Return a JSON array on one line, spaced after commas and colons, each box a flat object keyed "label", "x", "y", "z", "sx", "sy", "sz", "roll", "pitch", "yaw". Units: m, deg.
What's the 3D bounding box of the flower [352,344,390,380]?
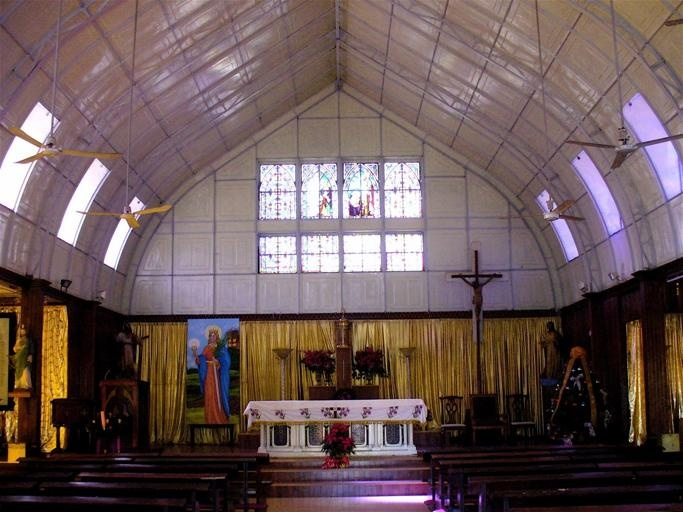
[{"label": "flower", "x": 1.113, "y": 3.588, "z": 26.649, "sx": 1.161, "sy": 1.626, "sz": 1.103, "roll": 1, "pitch": -10, "yaw": -11}]

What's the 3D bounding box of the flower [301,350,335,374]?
[{"label": "flower", "x": -0.737, "y": 3.567, "z": 26.164, "sx": 0.800, "sy": 0.790, "sz": 0.864, "roll": 0, "pitch": -5, "yaw": 19}]

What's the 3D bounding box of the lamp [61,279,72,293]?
[{"label": "lamp", "x": -8.478, "y": 0.882, "z": 23.580, "sx": 0.313, "sy": 0.396, "sz": 0.309, "roll": 1, "pitch": -20, "yaw": -9}]

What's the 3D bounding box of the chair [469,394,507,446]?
[{"label": "chair", "x": 4.775, "y": 5.325, "z": 25.126, "sx": 1.219, "sy": 2.180, "sz": 1.408, "roll": 0, "pitch": -16, "yaw": 1}]

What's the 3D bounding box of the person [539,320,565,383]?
[{"label": "person", "x": 7.443, "y": 3.260, "z": 26.687, "sx": 0.823, "sy": 2.276, "sz": 1.393, "roll": -6, "pitch": -15, "yaw": 17}]

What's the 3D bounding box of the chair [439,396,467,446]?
[{"label": "chair", "x": 3.832, "y": 5.589, "z": 26.012, "sx": 0.872, "sy": 1.898, "sz": 0.983, "roll": -1, "pitch": -24, "yaw": 3}]

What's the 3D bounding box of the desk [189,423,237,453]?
[{"label": "desk", "x": -4.458, "y": 6.121, "z": 26.541, "sx": 1.642, "sy": 0.810, "sz": 1.054, "roll": 1, "pitch": -16, "yaw": -12}]

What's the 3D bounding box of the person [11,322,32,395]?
[{"label": "person", "x": -8.900, "y": 2.796, "z": 21.451, "sx": 0.493, "sy": 1.824, "sz": 0.582, "roll": 2, "pitch": -15, "yaw": -17}]

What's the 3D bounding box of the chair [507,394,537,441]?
[{"label": "chair", "x": 6.211, "y": 5.414, "z": 26.228, "sx": 0.963, "sy": 1.659, "sz": 1.878, "roll": -6, "pitch": -16, "yaw": 13}]

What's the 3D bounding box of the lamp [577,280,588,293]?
[{"label": "lamp", "x": 8.092, "y": 1.025, "z": 25.348, "sx": 0.275, "sy": 0.368, "sz": 0.342, "roll": 31, "pitch": -3, "yaw": 34}]

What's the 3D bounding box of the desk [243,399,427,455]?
[{"label": "desk", "x": -0.056, "y": 5.012, "z": 22.638, "sx": 4.869, "sy": 1.727, "sz": 1.123, "roll": -4, "pitch": -15, "yaw": 3}]

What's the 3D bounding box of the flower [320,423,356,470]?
[{"label": "flower", "x": -0.100, "y": 5.078, "z": 20.833, "sx": 1.002, "sy": 1.486, "sz": 1.145, "roll": 3, "pitch": -18, "yaw": -7}]
